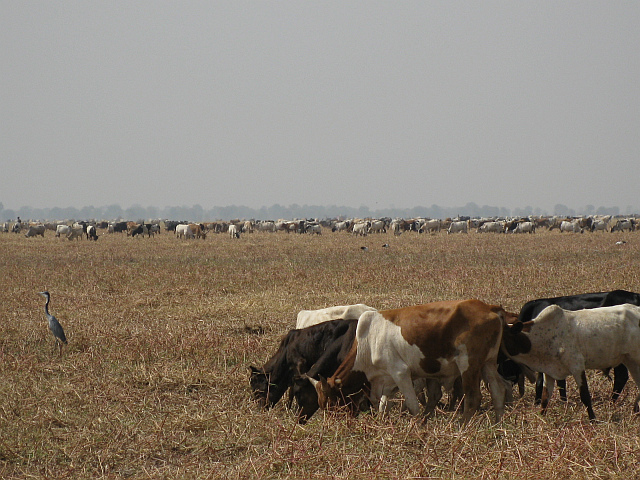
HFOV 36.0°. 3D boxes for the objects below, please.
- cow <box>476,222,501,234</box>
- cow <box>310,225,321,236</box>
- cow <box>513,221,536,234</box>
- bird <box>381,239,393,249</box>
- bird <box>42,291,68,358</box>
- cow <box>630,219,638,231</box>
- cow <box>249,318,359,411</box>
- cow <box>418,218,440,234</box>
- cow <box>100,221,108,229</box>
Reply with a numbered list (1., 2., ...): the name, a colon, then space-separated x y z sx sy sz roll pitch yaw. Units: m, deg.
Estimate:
1. cow: 12.060 -0.873 69.648 1.975 0.760 1.085 -1 -1 43
2. cow: -0.264 -0.762 71.760 0.607 0.678 1.803 0 -1 -5
3. cow: 14.136 -0.853 67.795 1.083 0.744 2.791 -1 -1 29
4. bird: 3.276 0.250 47.859 0.671 0.529 0.282 5 7 33
5. bird: -5.398 1.673 20.096 0.456 1.203 2.954 0 -1 -16
6. cow: 22.076 -1.032 69.053 0.192 0.919 0.448 -12 7 40
7. cow: 0.079 2.246 17.052 2.610 1.604 0.706 -10 -8 4
8. cow: 8.326 -1.020 74.943 1.621 1.011 4.461 0 -1 5
9. cow: -21.514 -1.509 98.270 0.824 0.881 0.862 -3 -2 37
